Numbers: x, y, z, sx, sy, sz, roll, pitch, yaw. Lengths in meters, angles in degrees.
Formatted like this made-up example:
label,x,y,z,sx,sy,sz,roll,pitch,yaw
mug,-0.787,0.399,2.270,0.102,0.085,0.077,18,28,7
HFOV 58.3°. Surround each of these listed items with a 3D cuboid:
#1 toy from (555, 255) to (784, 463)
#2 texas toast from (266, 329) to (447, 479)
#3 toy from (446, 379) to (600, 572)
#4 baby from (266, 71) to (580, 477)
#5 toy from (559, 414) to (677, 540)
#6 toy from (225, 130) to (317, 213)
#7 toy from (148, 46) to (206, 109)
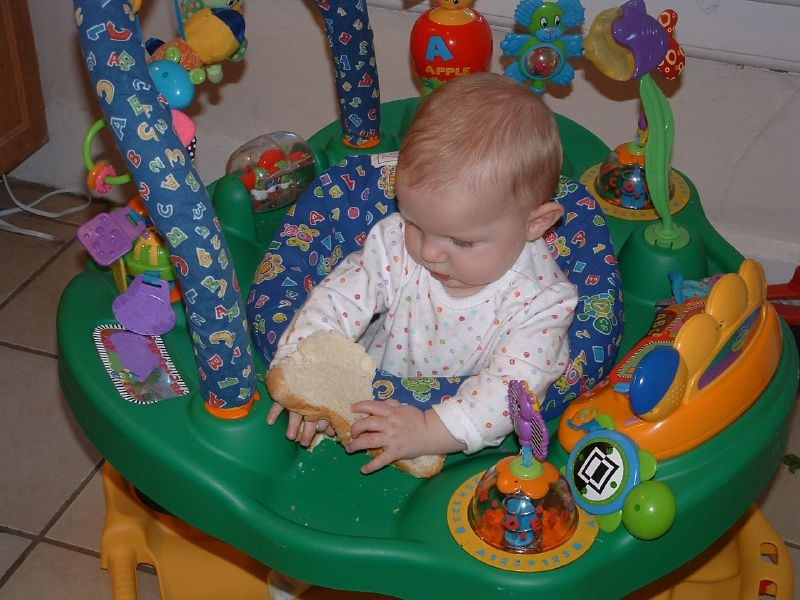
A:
label,x,y,z,sx,sy,sz,roll,pitch,yaw
toy,0.443,0.052,1.141,0.387,0.198,0.229,-38,27,-13
texas toast,-0.076,0.154,1.112,0.310,0.044,0.182,51,55,0
toy,0.177,0.244,1.068,0.209,0.221,0.247,6,75,-17
baby,0.038,-0.021,1.205,0.363,0.512,0.425,37,70,24
toy,0.297,0.255,1.049,0.131,0.071,0.199,-47,55,-10
toy,-0.289,-0.299,1.622,0.208,0.167,0.162,-19,51,-19
toy,-0.330,-0.340,1.049,0.064,0.055,0.044,9,71,-24
